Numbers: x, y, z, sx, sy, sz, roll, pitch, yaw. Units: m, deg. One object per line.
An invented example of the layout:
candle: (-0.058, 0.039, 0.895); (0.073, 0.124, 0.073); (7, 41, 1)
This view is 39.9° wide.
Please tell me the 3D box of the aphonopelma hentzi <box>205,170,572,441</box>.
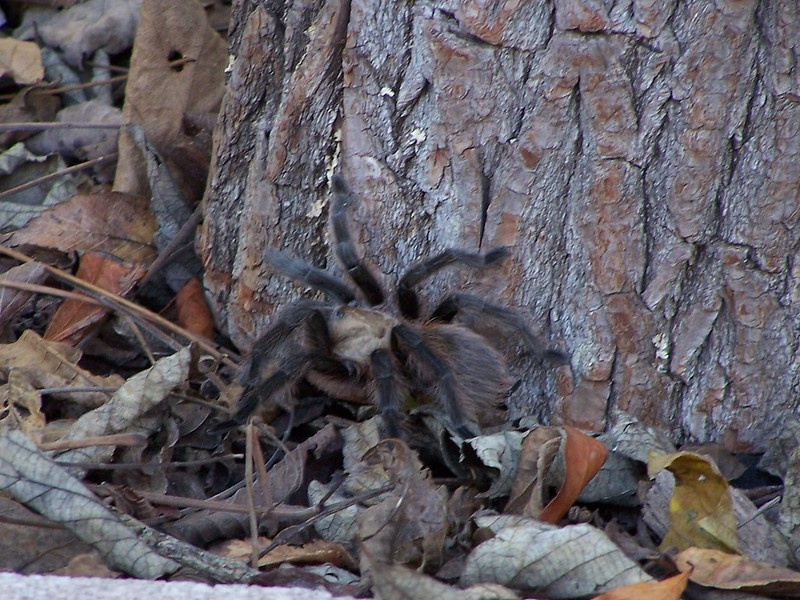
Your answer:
aphonopelma hentzi: (-0.027, 0.082, 2.197); (0.526, 0.158, 0.576); (21, 49, 18)
